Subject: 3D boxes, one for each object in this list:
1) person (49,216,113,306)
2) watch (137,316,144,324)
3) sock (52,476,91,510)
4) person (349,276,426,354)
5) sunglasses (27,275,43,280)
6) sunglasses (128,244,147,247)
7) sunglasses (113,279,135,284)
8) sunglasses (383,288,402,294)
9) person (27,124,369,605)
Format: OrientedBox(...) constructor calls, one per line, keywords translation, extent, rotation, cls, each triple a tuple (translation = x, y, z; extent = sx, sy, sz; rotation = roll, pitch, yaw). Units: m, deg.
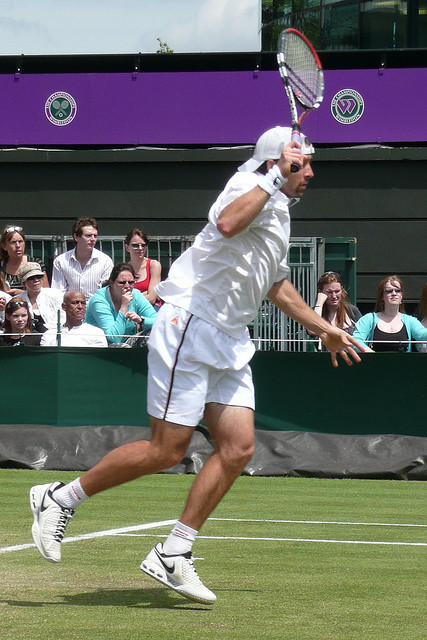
OrientedBox(translation=(-1.135, -0.399, 9.753), extent=(0.576, 0.902, 0.530), rotation=(3, 8, -2), cls="person")
OrientedBox(translation=(-0.571, -0.007, 8.928), extent=(0.043, 0.037, 0.041), rotation=(4, -12, -30), cls="watch")
OrientedBox(translation=(-0.574, 0.699, 4.563), extent=(0.076, 0.092, 0.210), rotation=(-25, 7, -27), cls="sock")
OrientedBox(translation=(1.545, -0.055, 9.885), extent=(0.664, 0.850, 0.484), rotation=(5, -41, 2), cls="person")
OrientedBox(translation=(-1.433, -0.342, 9.138), extent=(0.058, 0.038, 0.143), rotation=(1, 1, 33), cls="sunglasses")
OrientedBox(translation=(-0.631, -0.644, 9.903), extent=(0.072, 0.028, 0.186), rotation=(1, 1, 24), cls="sunglasses")
OrientedBox(translation=(-0.690, -0.299, 8.996), extent=(0.083, 0.031, 0.186), rotation=(1, 1, 35), cls="sunglasses")
OrientedBox(translation=(1.401, -0.225, 8.848), extent=(0.130, 0.045, 0.080), rotation=(1, 1, 5), cls="sunglasses")
OrientedBox(translation=(-0.040, 0.118, 4.490), extent=(1.265, 1.862, 0.635), rotation=(1, 1, -7), cls="person")
